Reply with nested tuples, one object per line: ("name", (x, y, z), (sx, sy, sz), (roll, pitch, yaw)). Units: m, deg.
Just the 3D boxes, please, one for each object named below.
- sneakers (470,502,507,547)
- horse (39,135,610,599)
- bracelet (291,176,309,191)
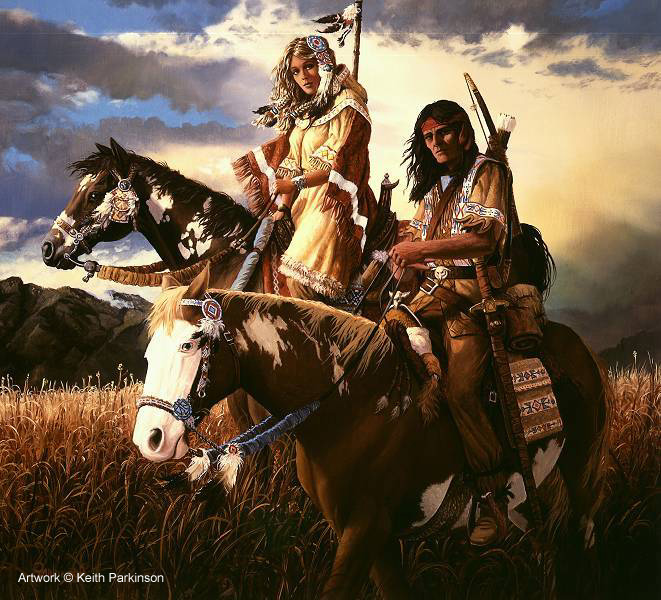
("sneakers", (0.585, 0.822, 2.344), (0.128, 0.167, 0.179), (5, -11, 27))
("horse", (-0.069, 0.244, 2.284), (2.134, 1.546, 1.019), (8, 10, 15))
("bracelet", (-0.119, -0.460, 2.491), (0.055, 0.054, 0.014), (-1, -1, 20))
